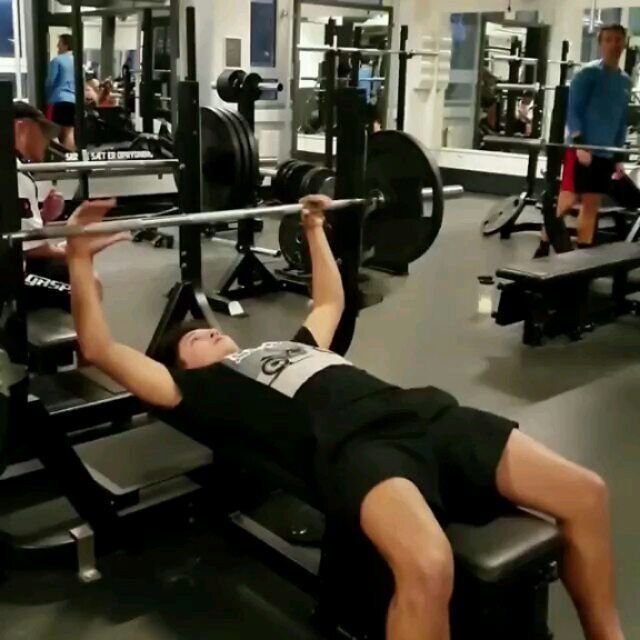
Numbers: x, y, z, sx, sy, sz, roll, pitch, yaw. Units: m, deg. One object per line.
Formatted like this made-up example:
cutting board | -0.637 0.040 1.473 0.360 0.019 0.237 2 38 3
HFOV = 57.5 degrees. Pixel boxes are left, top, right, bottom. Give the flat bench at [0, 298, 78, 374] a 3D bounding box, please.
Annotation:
flat bench | -0.784 0.045 1.642 0.178 0.103 0.301 -8 37 -34

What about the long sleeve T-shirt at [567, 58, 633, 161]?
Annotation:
long sleeve T-shirt | 1.415 -1.055 2.938 0.403 0.536 0.263 -16 25 -32

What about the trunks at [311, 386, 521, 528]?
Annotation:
trunks | 0.160 0.222 0.947 0.207 0.090 0.223 -17 39 -14

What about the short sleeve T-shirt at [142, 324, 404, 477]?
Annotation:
short sleeve T-shirt | -0.084 0.134 1.078 0.285 0.108 0.280 23 25 31
